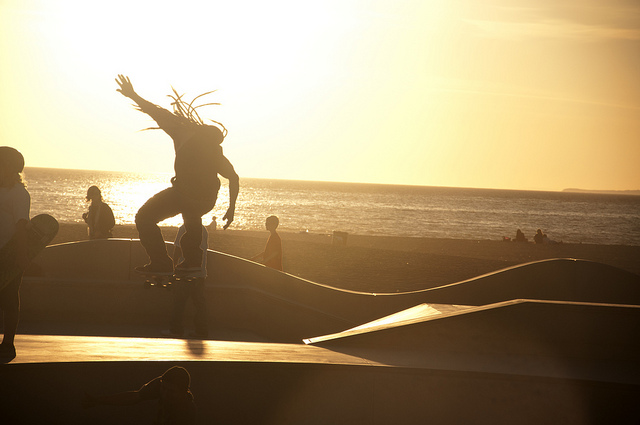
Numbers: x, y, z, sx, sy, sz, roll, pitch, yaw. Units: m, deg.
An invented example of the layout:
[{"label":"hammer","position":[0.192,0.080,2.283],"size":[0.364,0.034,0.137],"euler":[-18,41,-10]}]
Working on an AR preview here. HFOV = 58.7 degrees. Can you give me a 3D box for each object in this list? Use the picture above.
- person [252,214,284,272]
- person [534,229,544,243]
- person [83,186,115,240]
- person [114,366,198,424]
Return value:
[{"label":"person","position":[-0.862,0.567,10.113],"size":[0.486,0.652,0.959],"euler":[6,3,-5]},{"label":"person","position":[14.001,1.533,36.414],"size":[0.213,0.827,0.571],"euler":[2,-11,-11]},{"label":"person","position":[-4.092,0.052,10.545],"size":[0.546,1.030,1.232],"euler":[5,4,-23]},{"label":"person","position":[-1.666,1.879,5.777],"size":[0.771,0.763,0.571],"euler":[6,4,-18]}]
